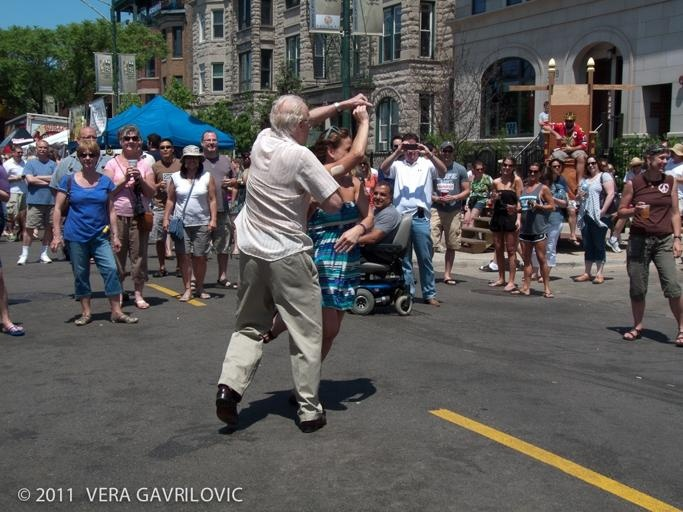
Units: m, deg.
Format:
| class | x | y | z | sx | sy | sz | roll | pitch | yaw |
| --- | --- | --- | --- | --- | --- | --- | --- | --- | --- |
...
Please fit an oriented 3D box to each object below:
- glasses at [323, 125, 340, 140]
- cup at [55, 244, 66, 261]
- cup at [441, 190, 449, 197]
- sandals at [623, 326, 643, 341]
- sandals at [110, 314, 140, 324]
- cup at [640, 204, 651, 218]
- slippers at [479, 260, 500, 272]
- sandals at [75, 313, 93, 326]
| class | x | y | z | sx | sy | sz | roll | pitch | yaw |
| --- | --- | --- | --- | --- | --- | --- | --- | --- | --- |
| glasses | -0.091 | -1.064 | 6.194 | 0.104 | 0.055 | 0.144 | -20 | 22 | 6 |
| cup | -5.101 | -0.062 | 12.846 | 0.167 | 0.263 | 0.444 | 3 | 0 | -14 |
| cup | 1.770 | -1.080 | 12.275 | 0.113 | 0.097 | 0.124 | 1 | -3 | -2 |
| sandals | 3.487 | 0.918 | 8.543 | 0.125 | 0.099 | 0.360 | 2 | -1 | 34 |
| sandals | -2.782 | 0.782 | 9.111 | 0.347 | 0.145 | 0.141 | 2 | 8 | -2 |
| cup | 3.598 | -0.528 | 8.447 | 0.122 | 0.143 | 0.128 | -1 | 2 | 0 |
| slippers | 2.957 | 0.211 | 14.525 | 0.465 | 0.216 | 0.168 | -2 | 3 | -18 |
| sandals | -3.267 | 0.797 | 9.028 | 0.105 | 0.126 | 0.292 | -1 | -6 | 13 |
